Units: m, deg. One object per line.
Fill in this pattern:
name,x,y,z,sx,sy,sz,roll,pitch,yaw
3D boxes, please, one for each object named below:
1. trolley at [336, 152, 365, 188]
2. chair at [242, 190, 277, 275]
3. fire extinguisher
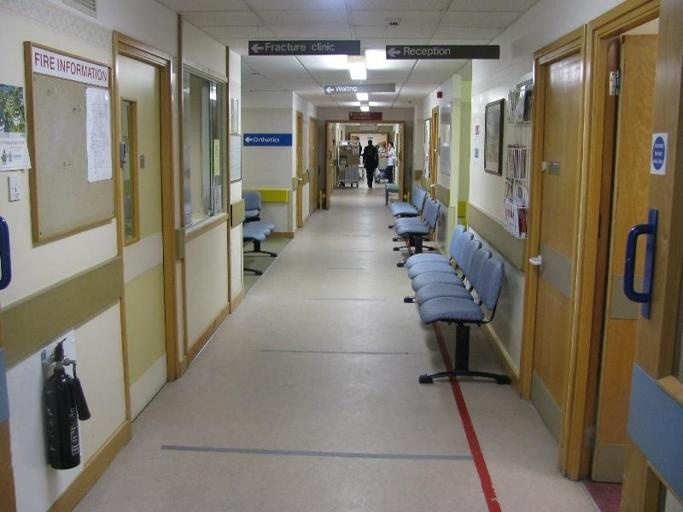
trolley,0.333,-4.497,23.445,1.018,2.134,1.237,1,30,-3
chair,-1.573,-0.438,9.159,0.624,1.053,1.499,1,13,2
fire extinguisher,-1.537,0.831,2.669,0.233,0.673,0.211,8,14,32
